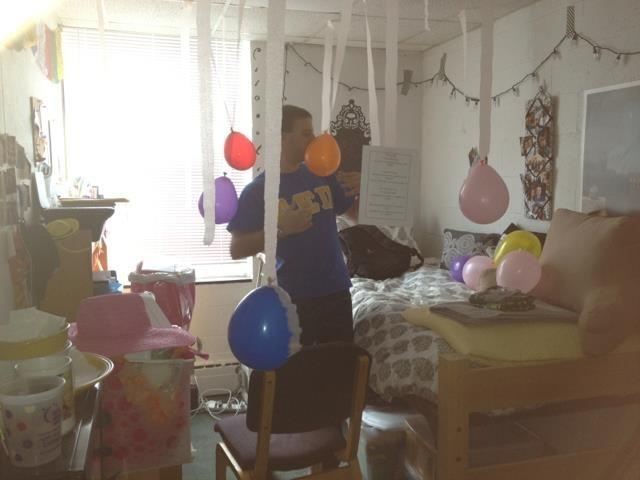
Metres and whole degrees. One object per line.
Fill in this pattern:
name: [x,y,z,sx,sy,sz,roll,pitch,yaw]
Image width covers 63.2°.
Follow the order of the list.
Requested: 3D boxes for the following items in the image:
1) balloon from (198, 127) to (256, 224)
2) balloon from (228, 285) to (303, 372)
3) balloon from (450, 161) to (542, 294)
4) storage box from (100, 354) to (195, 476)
balloon: [-0.315,-0.235,1.899,0.158,0.385,0.146,22,4,22]
balloon: [-0.187,0.292,1.682,0.222,0.318,0.125,1,7,23]
balloon: [1.071,-0.069,3.112,0.321,0.851,0.351,-19,-1,-30]
storage box: [-0.578,0.568,1.804,0.316,0.361,0.347,-1,3,-22]
